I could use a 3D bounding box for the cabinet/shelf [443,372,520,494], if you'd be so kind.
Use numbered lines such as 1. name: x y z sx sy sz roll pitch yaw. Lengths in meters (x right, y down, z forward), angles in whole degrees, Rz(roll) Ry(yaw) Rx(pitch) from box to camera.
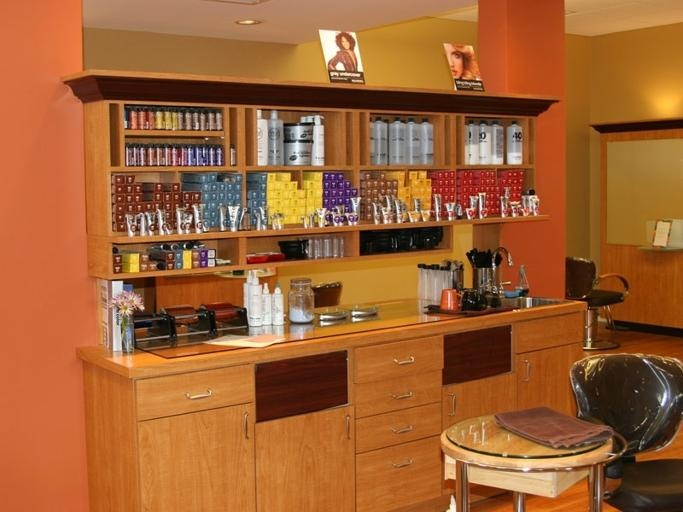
1. cabinet/shelf: 0.950 0.932 4.151 0.419 0.333 0.123 -4 9 -11

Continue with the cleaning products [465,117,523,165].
1. cleaning products: 1.044 -0.857 4.743 0.512 0.388 0.281 -4 15 -38

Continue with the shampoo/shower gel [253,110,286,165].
1. shampoo/shower gel: -0.490 -0.720 3.746 0.137 0.318 0.270 12 15 39

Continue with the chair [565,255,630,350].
1. chair: 3.020 0.543 7.280 0.833 1.060 0.724 7 10 27

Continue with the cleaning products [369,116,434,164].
1. cleaning products: 0.415 -0.800 4.355 0.475 0.334 0.229 -7 9 -32

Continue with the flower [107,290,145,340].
1. flower: -1.101 0.273 3.306 0.098 0.353 0.258 0 0 7

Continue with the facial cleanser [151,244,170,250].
1. facial cleanser: -1.007 -0.051 3.450 0.132 0.034 0.038 1 -2 31

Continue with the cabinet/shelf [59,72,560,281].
1. cabinet/shelf: 0.023 -0.541 4.092 3.511 1.016 0.580 -6 6 -33
